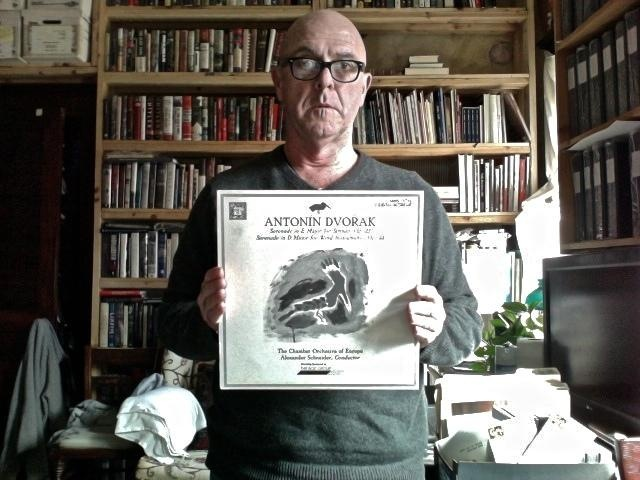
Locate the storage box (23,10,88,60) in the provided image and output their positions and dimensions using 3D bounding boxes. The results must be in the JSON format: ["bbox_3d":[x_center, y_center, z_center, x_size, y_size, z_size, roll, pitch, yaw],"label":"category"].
[{"bbox_3d":[-1.527,-1.173,3.998,0.334,0.281,0.078,-1,9,4],"label":"storage box"}]

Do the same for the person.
[{"bbox_3d":[0.027,0.015,2.330,1.090,1.594,0.342,2,-6,-11],"label":"person"}]
